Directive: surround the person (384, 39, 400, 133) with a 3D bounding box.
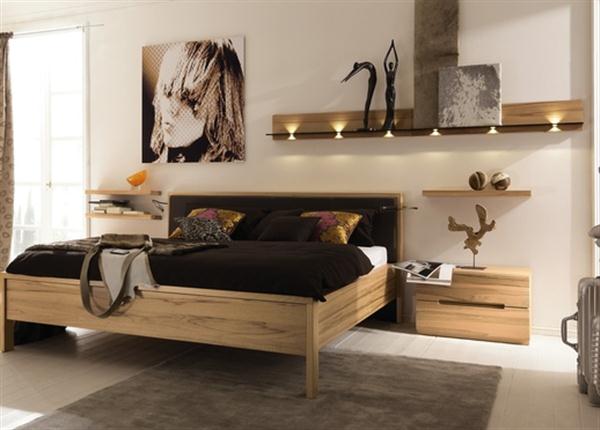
[{"bbox_3d":[0.906,-1.292,4.888,0.151,0.938,0.210,2,8,9],"label":"person"}]

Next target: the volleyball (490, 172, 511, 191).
[{"bbox_3d":[1.875,-0.316,4.563,0.185,0.162,0.188,3,7,18],"label":"volleyball"}]

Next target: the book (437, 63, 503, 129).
[{"bbox_3d":[1.607,-1.138,4.659,0.561,0.593,0.138,2,8,12],"label":"book"}]
